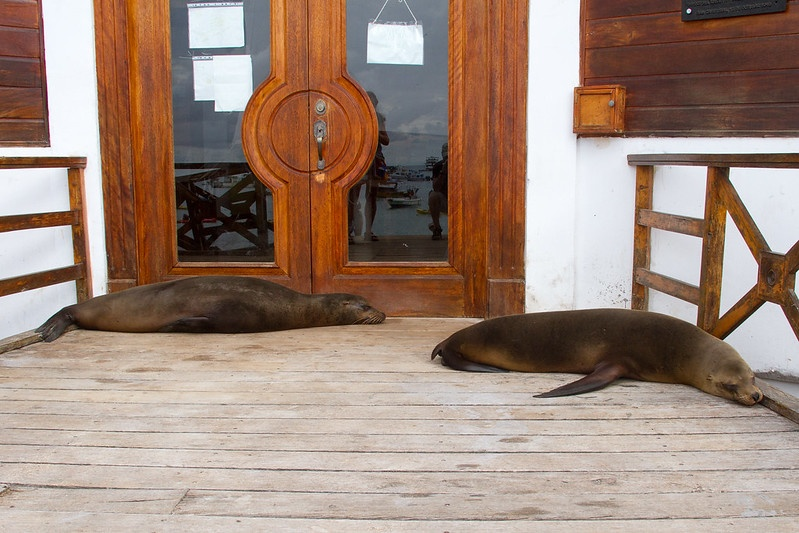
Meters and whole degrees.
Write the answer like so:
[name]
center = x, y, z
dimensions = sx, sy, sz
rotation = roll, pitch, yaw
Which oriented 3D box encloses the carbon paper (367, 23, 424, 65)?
[carbon paper]
center = -0.044, -1.963, 5.775
dimensions = 0.551, 0.337, 0.051
rotation = -9, 20, -26
